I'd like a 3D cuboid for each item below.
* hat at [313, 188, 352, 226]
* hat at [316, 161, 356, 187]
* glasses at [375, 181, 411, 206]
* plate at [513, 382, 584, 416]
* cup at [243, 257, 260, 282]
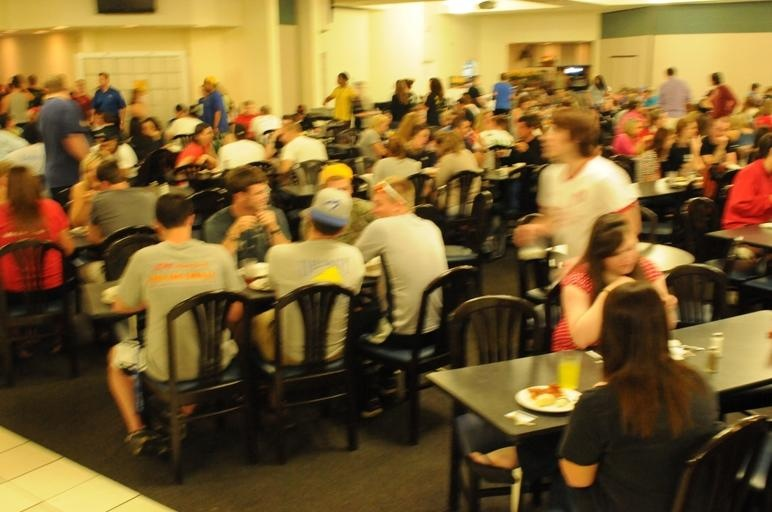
[{"bbox_3d":[-0.310,-0.277,3.395,0.241,0.163,0.375,18,8,-4],"label":"hat"},{"bbox_3d":[-0.347,-0.677,4.740,0.356,0.170,0.233,-16,17,-30],"label":"hat"},{"bbox_3d":[0.034,-0.425,3.888,0.217,0.107,0.161,24,13,18],"label":"glasses"},{"bbox_3d":[0.670,0.592,2.495,0.238,0.067,0.211,6,16,25],"label":"plate"},{"bbox_3d":[-0.876,0.090,3.842,0.097,0.147,0.096,0,20,0],"label":"cup"}]
